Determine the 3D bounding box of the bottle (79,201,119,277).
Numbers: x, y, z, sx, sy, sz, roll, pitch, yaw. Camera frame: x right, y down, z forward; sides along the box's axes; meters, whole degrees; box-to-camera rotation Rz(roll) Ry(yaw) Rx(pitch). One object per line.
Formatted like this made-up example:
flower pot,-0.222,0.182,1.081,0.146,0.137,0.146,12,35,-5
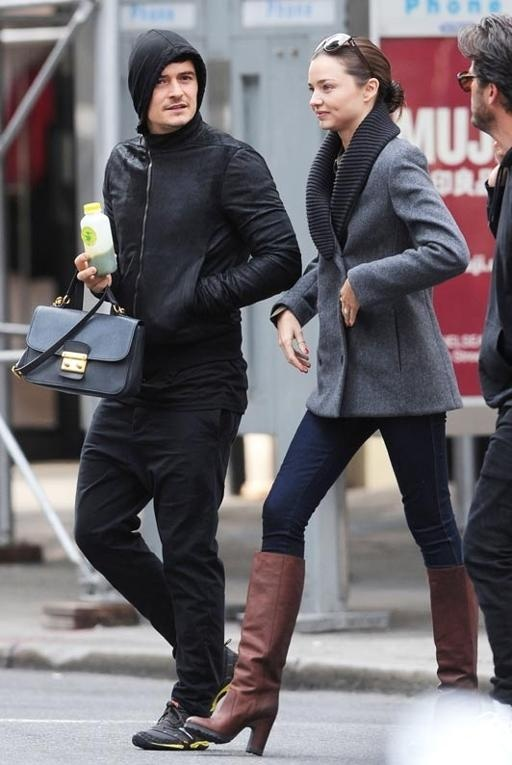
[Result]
bottle,-0.433,-0.396,3.491,0.096,0.199,0.200,1,12,-7

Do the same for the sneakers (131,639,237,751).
sneakers,-0.133,0.898,3.574,0.154,0.196,0.445,2,-1,30

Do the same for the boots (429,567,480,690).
boots,0.535,0.655,3.473,0.105,0.291,0.076,-3,-28,7

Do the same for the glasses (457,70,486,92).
glasses,0.554,-0.756,3.192,0.069,0.023,0.066,7,16,-5

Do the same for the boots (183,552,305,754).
boots,-0.004,0.699,3.306,0.197,0.497,0.297,13,16,39

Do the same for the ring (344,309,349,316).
ring,0.237,-0.184,3.306,0.012,0.020,0.016,-5,13,-2

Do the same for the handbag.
handbag,-0.480,-0.096,3.495,0.376,0.278,0.284,4,12,8
